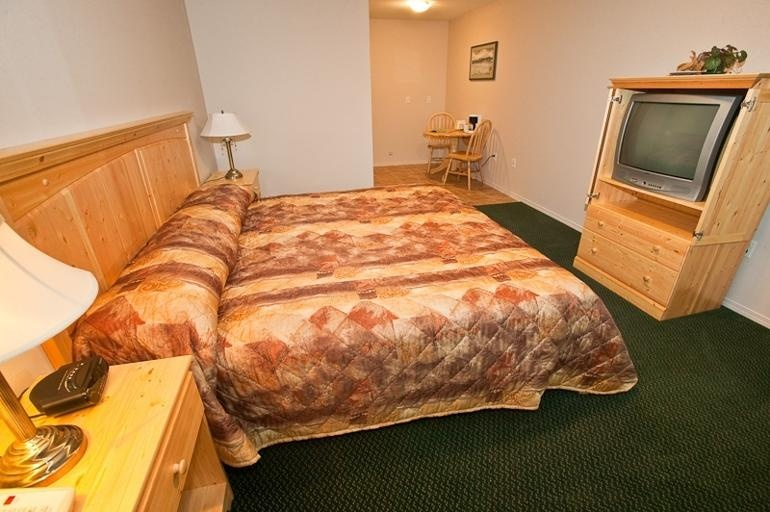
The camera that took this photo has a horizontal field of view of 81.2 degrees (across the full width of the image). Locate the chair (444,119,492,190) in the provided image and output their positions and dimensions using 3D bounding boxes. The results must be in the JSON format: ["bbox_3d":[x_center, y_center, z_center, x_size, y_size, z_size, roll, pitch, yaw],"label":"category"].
[{"bbox_3d":[1.120,-1.443,6.266,0.592,0.861,0.609,-5,22,-5],"label":"chair"}]

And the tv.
[{"bbox_3d":[2.039,-0.758,3.076,0.400,0.630,0.659,-11,29,-28],"label":"tv"}]

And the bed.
[{"bbox_3d":[-0.258,0.234,2.637,2.377,1.098,2.395,-9,45,-12],"label":"bed"}]

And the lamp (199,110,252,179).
[{"bbox_3d":[-1.395,-0.966,3.954,0.396,0.600,0.445,-5,7,22],"label":"lamp"}]
